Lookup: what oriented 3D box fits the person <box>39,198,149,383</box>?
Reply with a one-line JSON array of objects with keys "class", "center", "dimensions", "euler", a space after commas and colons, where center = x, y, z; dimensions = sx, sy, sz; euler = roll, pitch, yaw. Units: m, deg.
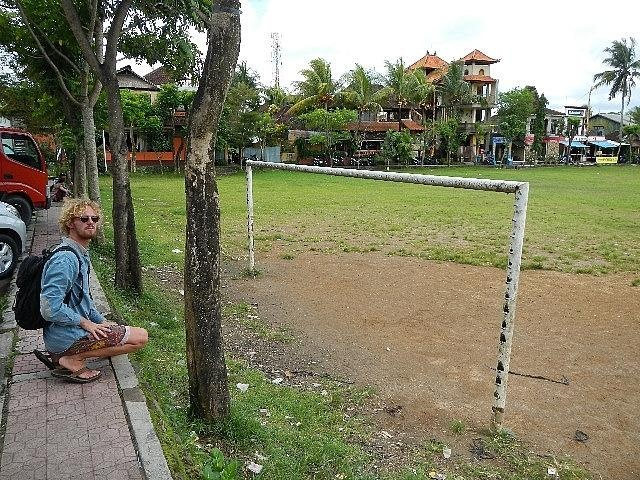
[{"class": "person", "center": [-2.291, 0.495, 5.227], "dimensions": [1.051, 1.829, 1.112], "euler": [-1, -3, 8]}]
